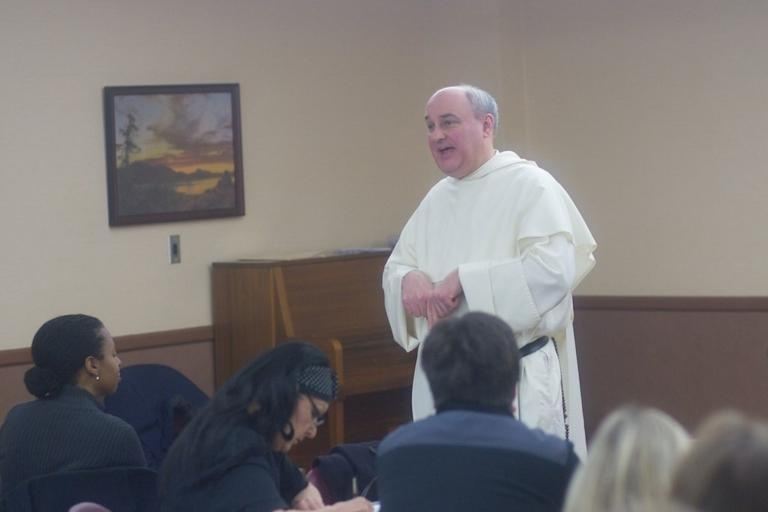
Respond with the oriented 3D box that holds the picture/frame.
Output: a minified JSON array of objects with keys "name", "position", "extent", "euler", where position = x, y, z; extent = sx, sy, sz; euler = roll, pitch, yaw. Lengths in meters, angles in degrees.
[{"name":"picture/frame","position":[-1.335,-0.640,5.273],"extent":[0.782,0.826,0.054],"euler":[-5,4,-20]}]
